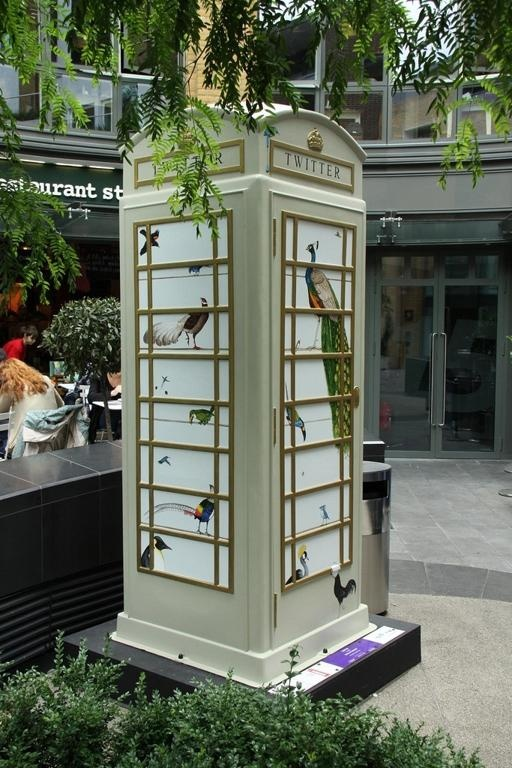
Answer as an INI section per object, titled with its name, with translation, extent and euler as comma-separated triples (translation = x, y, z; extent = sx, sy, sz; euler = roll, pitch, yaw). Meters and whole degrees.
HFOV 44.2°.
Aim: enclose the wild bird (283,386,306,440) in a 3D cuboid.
[wild bird]
translation = 0.193, 0.170, 3.042
extent = 0.102, 0.291, 0.081
euler = -3, 23, 26
